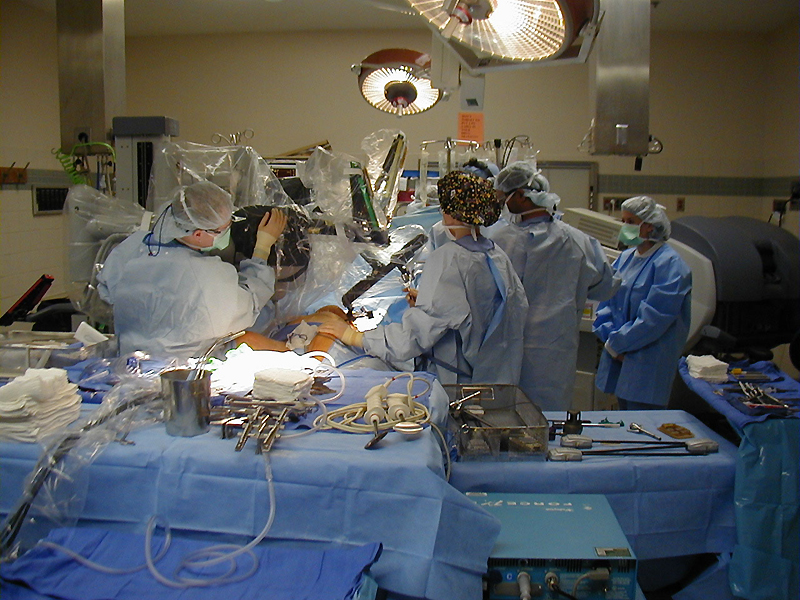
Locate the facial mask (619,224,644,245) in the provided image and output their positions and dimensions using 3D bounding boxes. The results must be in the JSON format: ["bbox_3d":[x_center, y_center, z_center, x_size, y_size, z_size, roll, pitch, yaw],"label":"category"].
[{"bbox_3d":[1.183,-0.330,3.246,0.089,0.075,0.089,-5,3,12],"label":"facial mask"}]

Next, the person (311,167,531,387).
[{"bbox_3d":[0.186,-0.045,2.231,0.646,0.788,0.223,-7,12,-30],"label":"person"}]

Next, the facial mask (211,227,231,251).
[{"bbox_3d":[-0.643,-0.206,2.297,0.058,0.056,0.075,-3,54,3],"label":"facial mask"}]

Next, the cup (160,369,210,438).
[{"bbox_3d":[-0.553,0.263,1.646,0.119,0.146,0.117,-1,10,0],"label":"cup"}]

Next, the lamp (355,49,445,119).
[{"bbox_3d":[-0.010,-1.189,3.537,0.432,0.304,0.692,0,11,4],"label":"lamp"}]

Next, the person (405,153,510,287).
[{"bbox_3d":[0.317,-0.408,3.242,0.563,0.918,0.547,4,16,11],"label":"person"}]
